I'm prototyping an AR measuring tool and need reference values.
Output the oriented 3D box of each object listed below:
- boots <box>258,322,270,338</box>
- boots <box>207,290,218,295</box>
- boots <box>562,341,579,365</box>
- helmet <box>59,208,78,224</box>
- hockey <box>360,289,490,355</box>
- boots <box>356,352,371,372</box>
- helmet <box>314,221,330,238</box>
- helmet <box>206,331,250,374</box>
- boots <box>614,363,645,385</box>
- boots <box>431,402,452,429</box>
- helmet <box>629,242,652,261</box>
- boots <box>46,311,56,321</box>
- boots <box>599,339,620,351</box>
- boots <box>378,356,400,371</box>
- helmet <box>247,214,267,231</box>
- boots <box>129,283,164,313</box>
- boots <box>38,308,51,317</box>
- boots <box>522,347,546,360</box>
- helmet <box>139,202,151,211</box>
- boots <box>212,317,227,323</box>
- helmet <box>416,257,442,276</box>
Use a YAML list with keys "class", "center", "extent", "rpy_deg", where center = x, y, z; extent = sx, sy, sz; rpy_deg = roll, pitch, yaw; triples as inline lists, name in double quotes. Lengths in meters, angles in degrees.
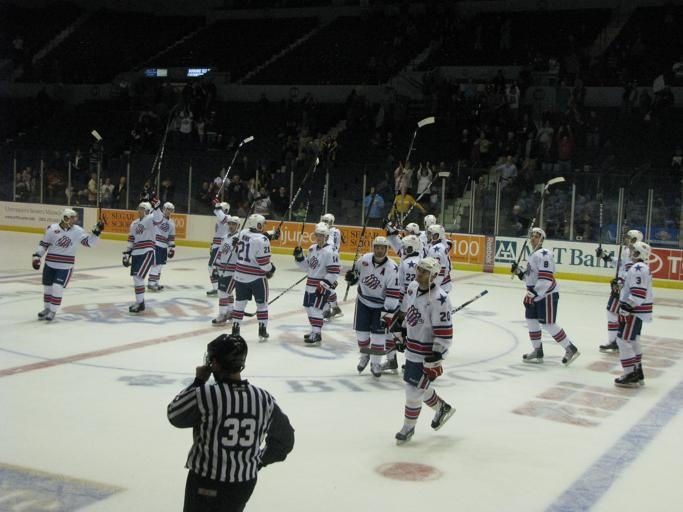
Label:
- class: "boots"
  center: [-1.344, 1.267, 11.564]
  extent: [0.124, 0.273, 0.273]
  rpy_deg: [1, 12, 9]
- class: "boots"
  center: [-2.941, 0.800, 15.331]
  extent: [0.236, 0.113, 0.393]
  rpy_deg: [5, 1, -14]
- class: "boots"
  center: [3.637, 1.541, 10.821]
  extent: [0.224, 0.364, 0.322]
  rpy_deg: [5, 2, 16]
- class: "helmet"
  center: [-5.013, -0.717, 12.456]
  extent: [0.268, 0.298, 0.469]
  rpy_deg: [4, 2, -24]
- class: "hockey"
  center: [1.122, 0.950, 9.499]
  extent: [2.204, 0.158, 0.564]
  rpy_deg: [-17, -10, -19]
- class: "boots"
  center: [0.299, 1.553, 10.036]
  extent: [0.119, 0.152, 0.368]
  rpy_deg: [4, 34, 22]
- class: "helmet"
  center: [-0.337, -0.460, 11.302]
  extent: [0.178, 0.255, 0.241]
  rpy_deg: [0, 2, 1]
- class: "helmet"
  center: [-0.853, 0.675, 5.022]
  extent: [0.235, 0.316, 0.297]
  rpy_deg: [1, 16, -26]
- class: "boots"
  center: [4.128, 1.716, 9.941]
  extent: [0.486, 0.379, 0.198]
  rpy_deg: [0, 4, 10]
- class: "boots"
  center: [1.179, 1.880, 8.046]
  extent: [0.150, 0.326, 0.120]
  rpy_deg: [44, -6, -40]
- class: "helmet"
  center: [4.505, -0.087, 10.174]
  extent: [0.282, 0.272, 0.223]
  rpy_deg: [18, 7, 11]
- class: "boots"
  center: [-5.236, 1.057, 12.193]
  extent: [0.104, 0.091, 0.208]
  rpy_deg: [5, 3, -11]
- class: "boots"
  center: [4.604, 1.535, 11.731]
  extent: [0.304, 0.198, 0.253]
  rpy_deg: [5, 1, 13]
- class: "boots"
  center: [0.724, 1.624, 10.321]
  extent: [0.312, 0.228, 0.123]
  rpy_deg: [2, 6, 18]
- class: "helmet"
  center: [-1.455, -0.611, 11.812]
  extent: [0.327, 0.337, 0.255]
  rpy_deg: [-7, 15, -24]
- class: "boots"
  center: [-3.893, 0.901, 13.458]
  extent: [0.825, 0.743, 0.284]
  rpy_deg: [1, 0, -12]
- class: "boots"
  center: [-5.375, 1.027, 12.330]
  extent: [0.126, 0.155, 0.357]
  rpy_deg: [3, 8, 4]
- class: "boots"
  center: [3.078, 1.561, 10.957]
  extent: [0.327, 0.237, 0.236]
  rpy_deg: [5, 2, 16]
- class: "helmet"
  center: [-4.023, -1.043, 13.920]
  extent: [0.199, 0.206, 0.174]
  rpy_deg: [15, 12, -1]
- class: "boots"
  center: [-2.253, 1.164, 12.534]
  extent: [0.274, 0.099, 0.227]
  rpy_deg: [5, 1, -15]
- class: "helmet"
  center: [0.979, 0.111, 7.604]
  extent: [0.226, 0.216, 0.188]
  rpy_deg: [37, -6, -7]
